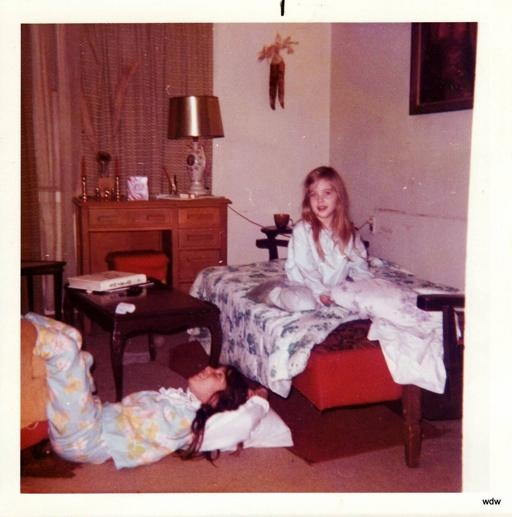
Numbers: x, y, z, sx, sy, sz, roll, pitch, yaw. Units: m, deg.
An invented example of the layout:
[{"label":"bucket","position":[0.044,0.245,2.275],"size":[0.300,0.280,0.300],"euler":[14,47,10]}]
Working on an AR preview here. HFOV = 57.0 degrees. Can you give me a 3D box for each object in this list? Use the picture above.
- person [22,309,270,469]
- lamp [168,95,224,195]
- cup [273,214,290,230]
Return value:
[{"label":"person","position":[-0.503,0.570,1.870],"size":[1.073,0.511,0.448],"euler":[12,-6,-4]},{"label":"lamp","position":[-0.492,-0.890,3.775],"size":[0.411,0.780,0.472],"euler":[-2,8,-13]},{"label":"cup","position":[0.218,-0.299,3.794],"size":[0.136,0.107,0.108],"euler":[-7,10,-42]}]
